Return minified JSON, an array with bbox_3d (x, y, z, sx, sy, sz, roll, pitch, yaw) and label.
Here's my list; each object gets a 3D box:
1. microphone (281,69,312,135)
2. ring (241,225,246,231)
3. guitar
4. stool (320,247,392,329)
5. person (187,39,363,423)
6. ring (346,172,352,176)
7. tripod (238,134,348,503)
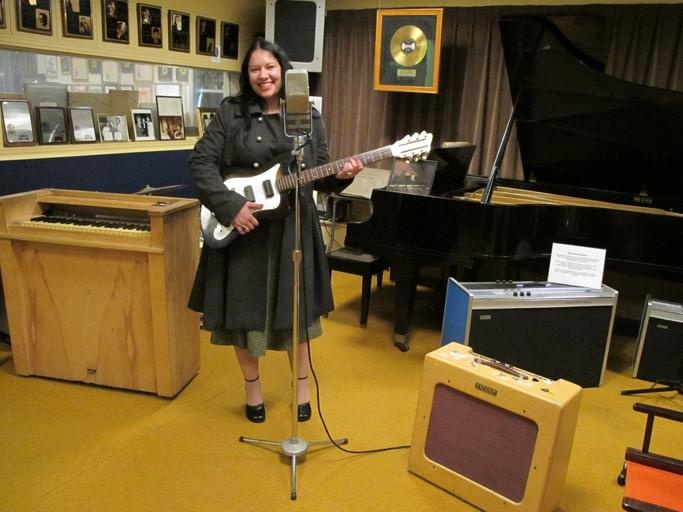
[{"bbox_3d":[-0.200,-0.689,2.255,0.126,0.293,0.205,-1,15,-5],"label":"microphone"},{"bbox_3d":[-0.503,-0.141,2.568,0.035,0.030,0.009,0,14,-2],"label":"ring"},{"bbox_3d":[-0.121,-0.404,3.211,1.500,0.527,0.177,-19,3,0],"label":"guitar"},{"bbox_3d":[0.182,0.180,4.413,0.567,0.615,0.703,9,14,28],"label":"stool"},{"bbox_3d":[-0.395,-0.126,2.790,0.961,2.050,0.798,0,6,-9],"label":"person"},{"bbox_3d":[0.040,-0.428,2.587,0.023,0.025,0.048,0,15,-3],"label":"ring"},{"bbox_3d":[-0.234,0.263,2.584,0.470,1.730,0.535,-12,19,-41],"label":"tripod"}]
